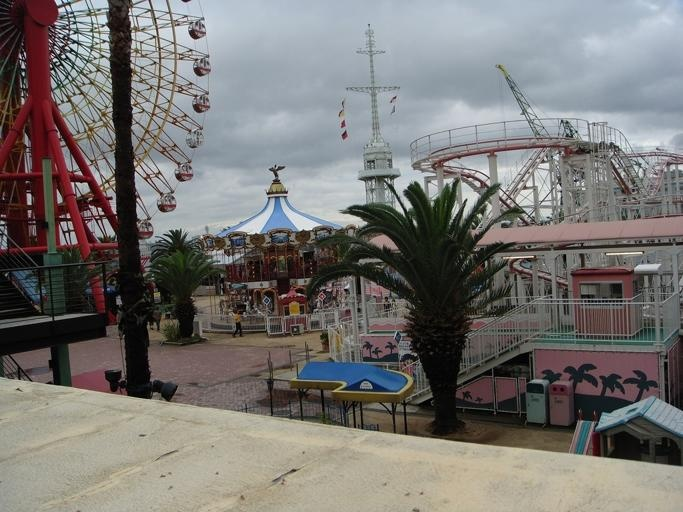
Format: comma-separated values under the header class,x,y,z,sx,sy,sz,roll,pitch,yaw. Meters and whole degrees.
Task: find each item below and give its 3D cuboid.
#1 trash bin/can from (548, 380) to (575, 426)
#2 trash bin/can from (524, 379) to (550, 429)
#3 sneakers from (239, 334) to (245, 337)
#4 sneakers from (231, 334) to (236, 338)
class,x,y,z,sx,sy,sz,roll,pitch,yaw
trash bin/can,5.050,3.373,13.900,0.624,0.946,0.404,-2,3,5
trash bin/can,4.495,3.357,14.011,0.513,0.967,0.363,-1,4,19
sneakers,-5.363,4.113,31.548,0.082,0.140,0.215,5,15,23
sneakers,-5.805,4.143,31.718,0.160,0.174,0.156,1,7,20
